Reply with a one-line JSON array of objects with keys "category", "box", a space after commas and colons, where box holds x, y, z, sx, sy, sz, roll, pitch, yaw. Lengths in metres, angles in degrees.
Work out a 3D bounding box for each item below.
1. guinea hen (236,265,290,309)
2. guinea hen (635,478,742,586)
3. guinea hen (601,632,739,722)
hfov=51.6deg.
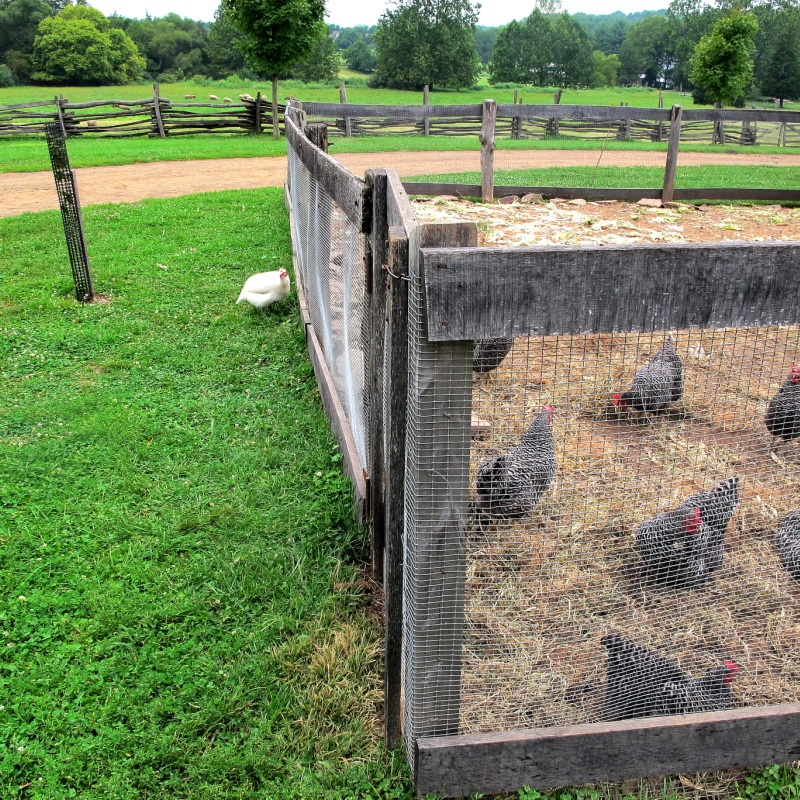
[{"category": "guinea hen", "box": [-1.266, -1.061, 7.765, 0.469, 0.330, 0.330, 1, 30, 15]}, {"category": "guinea hen", "box": [1.257, 0.564, 3.713, 0.292, 0.343, 0.518, 22, 42, 30]}, {"category": "guinea hen", "box": [1.013, 1.066, 3.145, 0.490, 0.196, 0.258, 2, 22, 8]}]
